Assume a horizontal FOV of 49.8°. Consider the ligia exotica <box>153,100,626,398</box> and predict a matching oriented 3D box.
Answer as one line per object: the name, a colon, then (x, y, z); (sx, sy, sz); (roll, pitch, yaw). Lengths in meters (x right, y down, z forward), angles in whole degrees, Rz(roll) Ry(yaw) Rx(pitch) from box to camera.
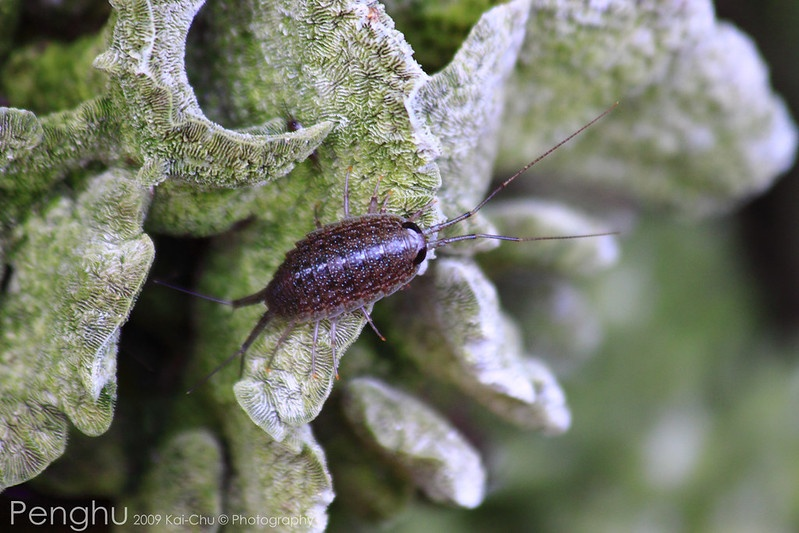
ligia exotica: (-0.154, -0.007, 4.656); (2.131, 0.244, 0.815); (-26, 99, 2)
